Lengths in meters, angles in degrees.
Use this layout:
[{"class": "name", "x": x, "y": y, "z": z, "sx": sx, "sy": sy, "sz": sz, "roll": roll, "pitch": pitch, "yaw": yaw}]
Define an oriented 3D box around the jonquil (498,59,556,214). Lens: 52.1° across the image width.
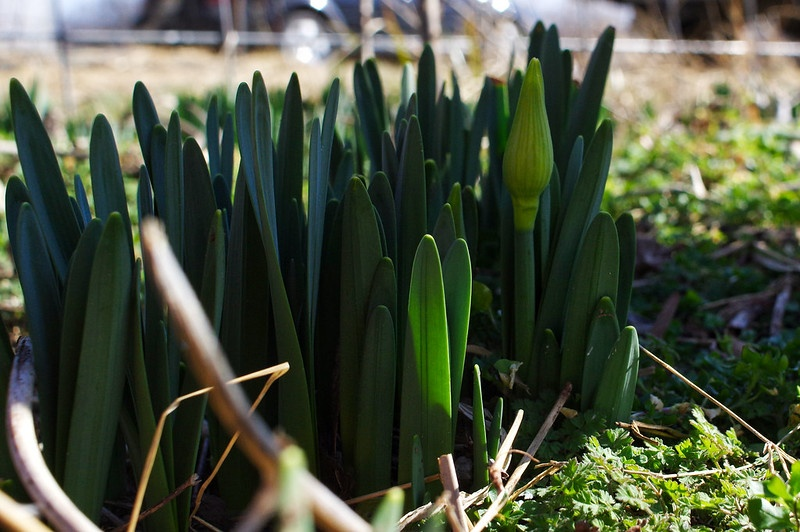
[{"class": "jonquil", "x": 0.226, "y": -0.220, "z": 1.391, "sx": 0.106, "sy": 0.253, "sz": 0.076, "roll": -6, "pitch": 16, "yaw": -13}]
